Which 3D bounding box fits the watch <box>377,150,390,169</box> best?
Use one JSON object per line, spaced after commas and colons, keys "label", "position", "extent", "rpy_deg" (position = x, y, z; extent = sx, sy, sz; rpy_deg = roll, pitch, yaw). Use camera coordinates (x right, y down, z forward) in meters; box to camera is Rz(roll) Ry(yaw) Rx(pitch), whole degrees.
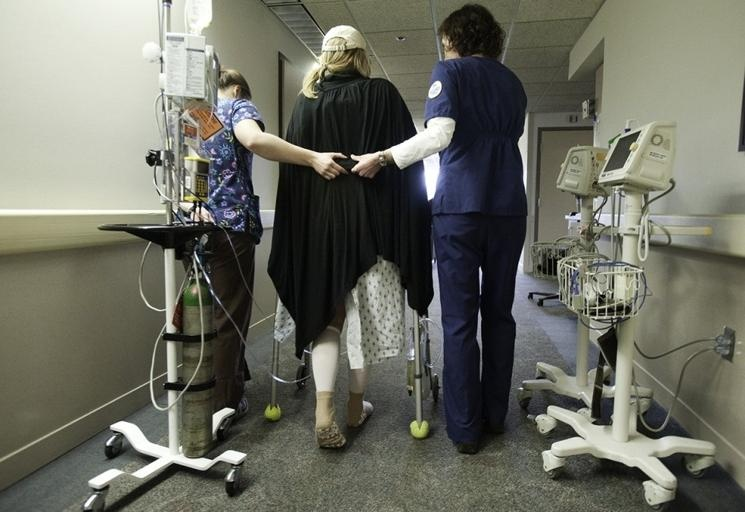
{"label": "watch", "position": [0.059, -0.498, 2.796], "extent": [0.050, 0.082, 0.074], "rpy_deg": [-1, 13, 5]}

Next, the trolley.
{"label": "trolley", "position": [-0.136, 0.626, 3.192], "extent": [0.613, 1.045, 0.872], "rpy_deg": [0, 8, 20]}

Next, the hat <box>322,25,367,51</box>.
{"label": "hat", "position": [-0.124, -1.159, 2.868], "extent": [0.197, 0.155, 0.331], "rpy_deg": [12, 25, 25]}

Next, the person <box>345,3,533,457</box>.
{"label": "person", "position": [0.518, -0.177, 2.940], "extent": [0.820, 2.328, 0.568], "rpy_deg": [-11, 15, -38]}

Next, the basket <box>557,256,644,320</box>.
{"label": "basket", "position": [1.127, 0.144, 2.680], "extent": [0.305, 0.312, 0.446], "rpy_deg": [-3, 11, -4]}
